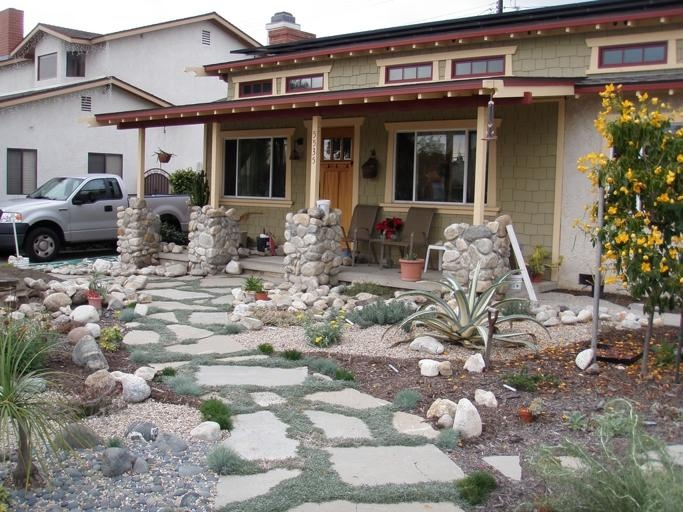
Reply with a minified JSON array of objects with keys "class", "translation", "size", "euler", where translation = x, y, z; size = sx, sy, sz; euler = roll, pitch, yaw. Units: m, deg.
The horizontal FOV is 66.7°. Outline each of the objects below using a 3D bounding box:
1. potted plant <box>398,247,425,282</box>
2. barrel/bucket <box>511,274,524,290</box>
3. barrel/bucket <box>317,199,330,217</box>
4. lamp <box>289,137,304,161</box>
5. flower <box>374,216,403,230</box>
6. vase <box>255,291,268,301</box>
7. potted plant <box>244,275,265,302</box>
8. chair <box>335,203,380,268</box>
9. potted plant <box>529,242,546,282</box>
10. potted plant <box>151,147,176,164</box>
[{"class":"potted plant","translation":[1.306,0.211,9.629],"size":[0.464,0.499,0.484],"euler":[1,-1,5]},{"class":"barrel/bucket","translation":[3.098,0.477,9.161],"size":[0.373,0.275,0.154],"euler":[-2,5,-42]},{"class":"barrel/bucket","translation":[-0.370,-0.947,10.320],"size":[0.304,0.396,0.274],"euler":[4,10,16]},{"class":"lamp","translation":[-1.197,-2.782,13.529],"size":[0.381,0.611,0.149],"euler":[4,5,33]},{"class":"flower","translation":[1.071,-0.693,11.371],"size":[0.370,0.261,0.378],"euler":[-2,3,18]},{"class":"vase","translation":[-1.458,0.740,9.570],"size":[0.155,0.167,0.301],"euler":[3,4,30]},{"class":"potted plant","translation":[-1.614,0.629,9.697],"size":[0.400,0.467,0.417],"euler":[-1,-2,36]},{"class":"chair","translation":[0.579,-0.524,12.294],"size":[1.211,1.736,1.214],"euler":[6,7,42]},{"class":"potted plant","translation":[3.826,0.153,10.148],"size":[0.270,0.686,0.396],"euler":[4,5,36]},{"class":"potted plant","translation":[-6.949,-3.876,20.008],"size":[1.027,0.445,1.037],"euler":[4,1,28]}]
